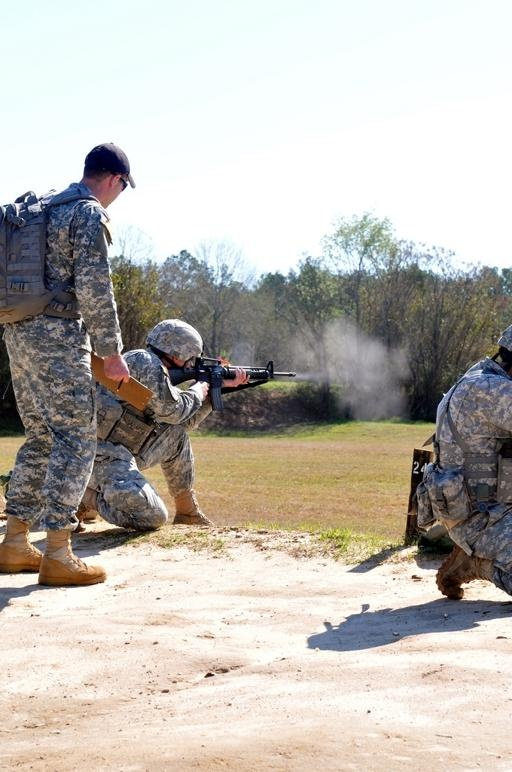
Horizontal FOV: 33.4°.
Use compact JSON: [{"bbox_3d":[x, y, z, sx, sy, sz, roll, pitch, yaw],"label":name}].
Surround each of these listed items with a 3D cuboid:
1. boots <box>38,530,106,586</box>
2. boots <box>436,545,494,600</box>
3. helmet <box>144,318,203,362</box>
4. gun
[{"bbox_3d":[-1.017,0.961,4.799,0.399,0.320,0.161,7,-8,-36],"label":"boots"},{"bbox_3d":[1.108,1.038,4.723,0.228,0.140,0.323,32,-9,-25],"label":"boots"},{"bbox_3d":[-0.610,-0.378,7.105,0.471,0.322,0.335,15,6,-21],"label":"helmet"},{"bbox_3d":[-0.263,-0.036,7.630,1.513,0.448,0.170,1,-7,-42],"label":"gun"}]
